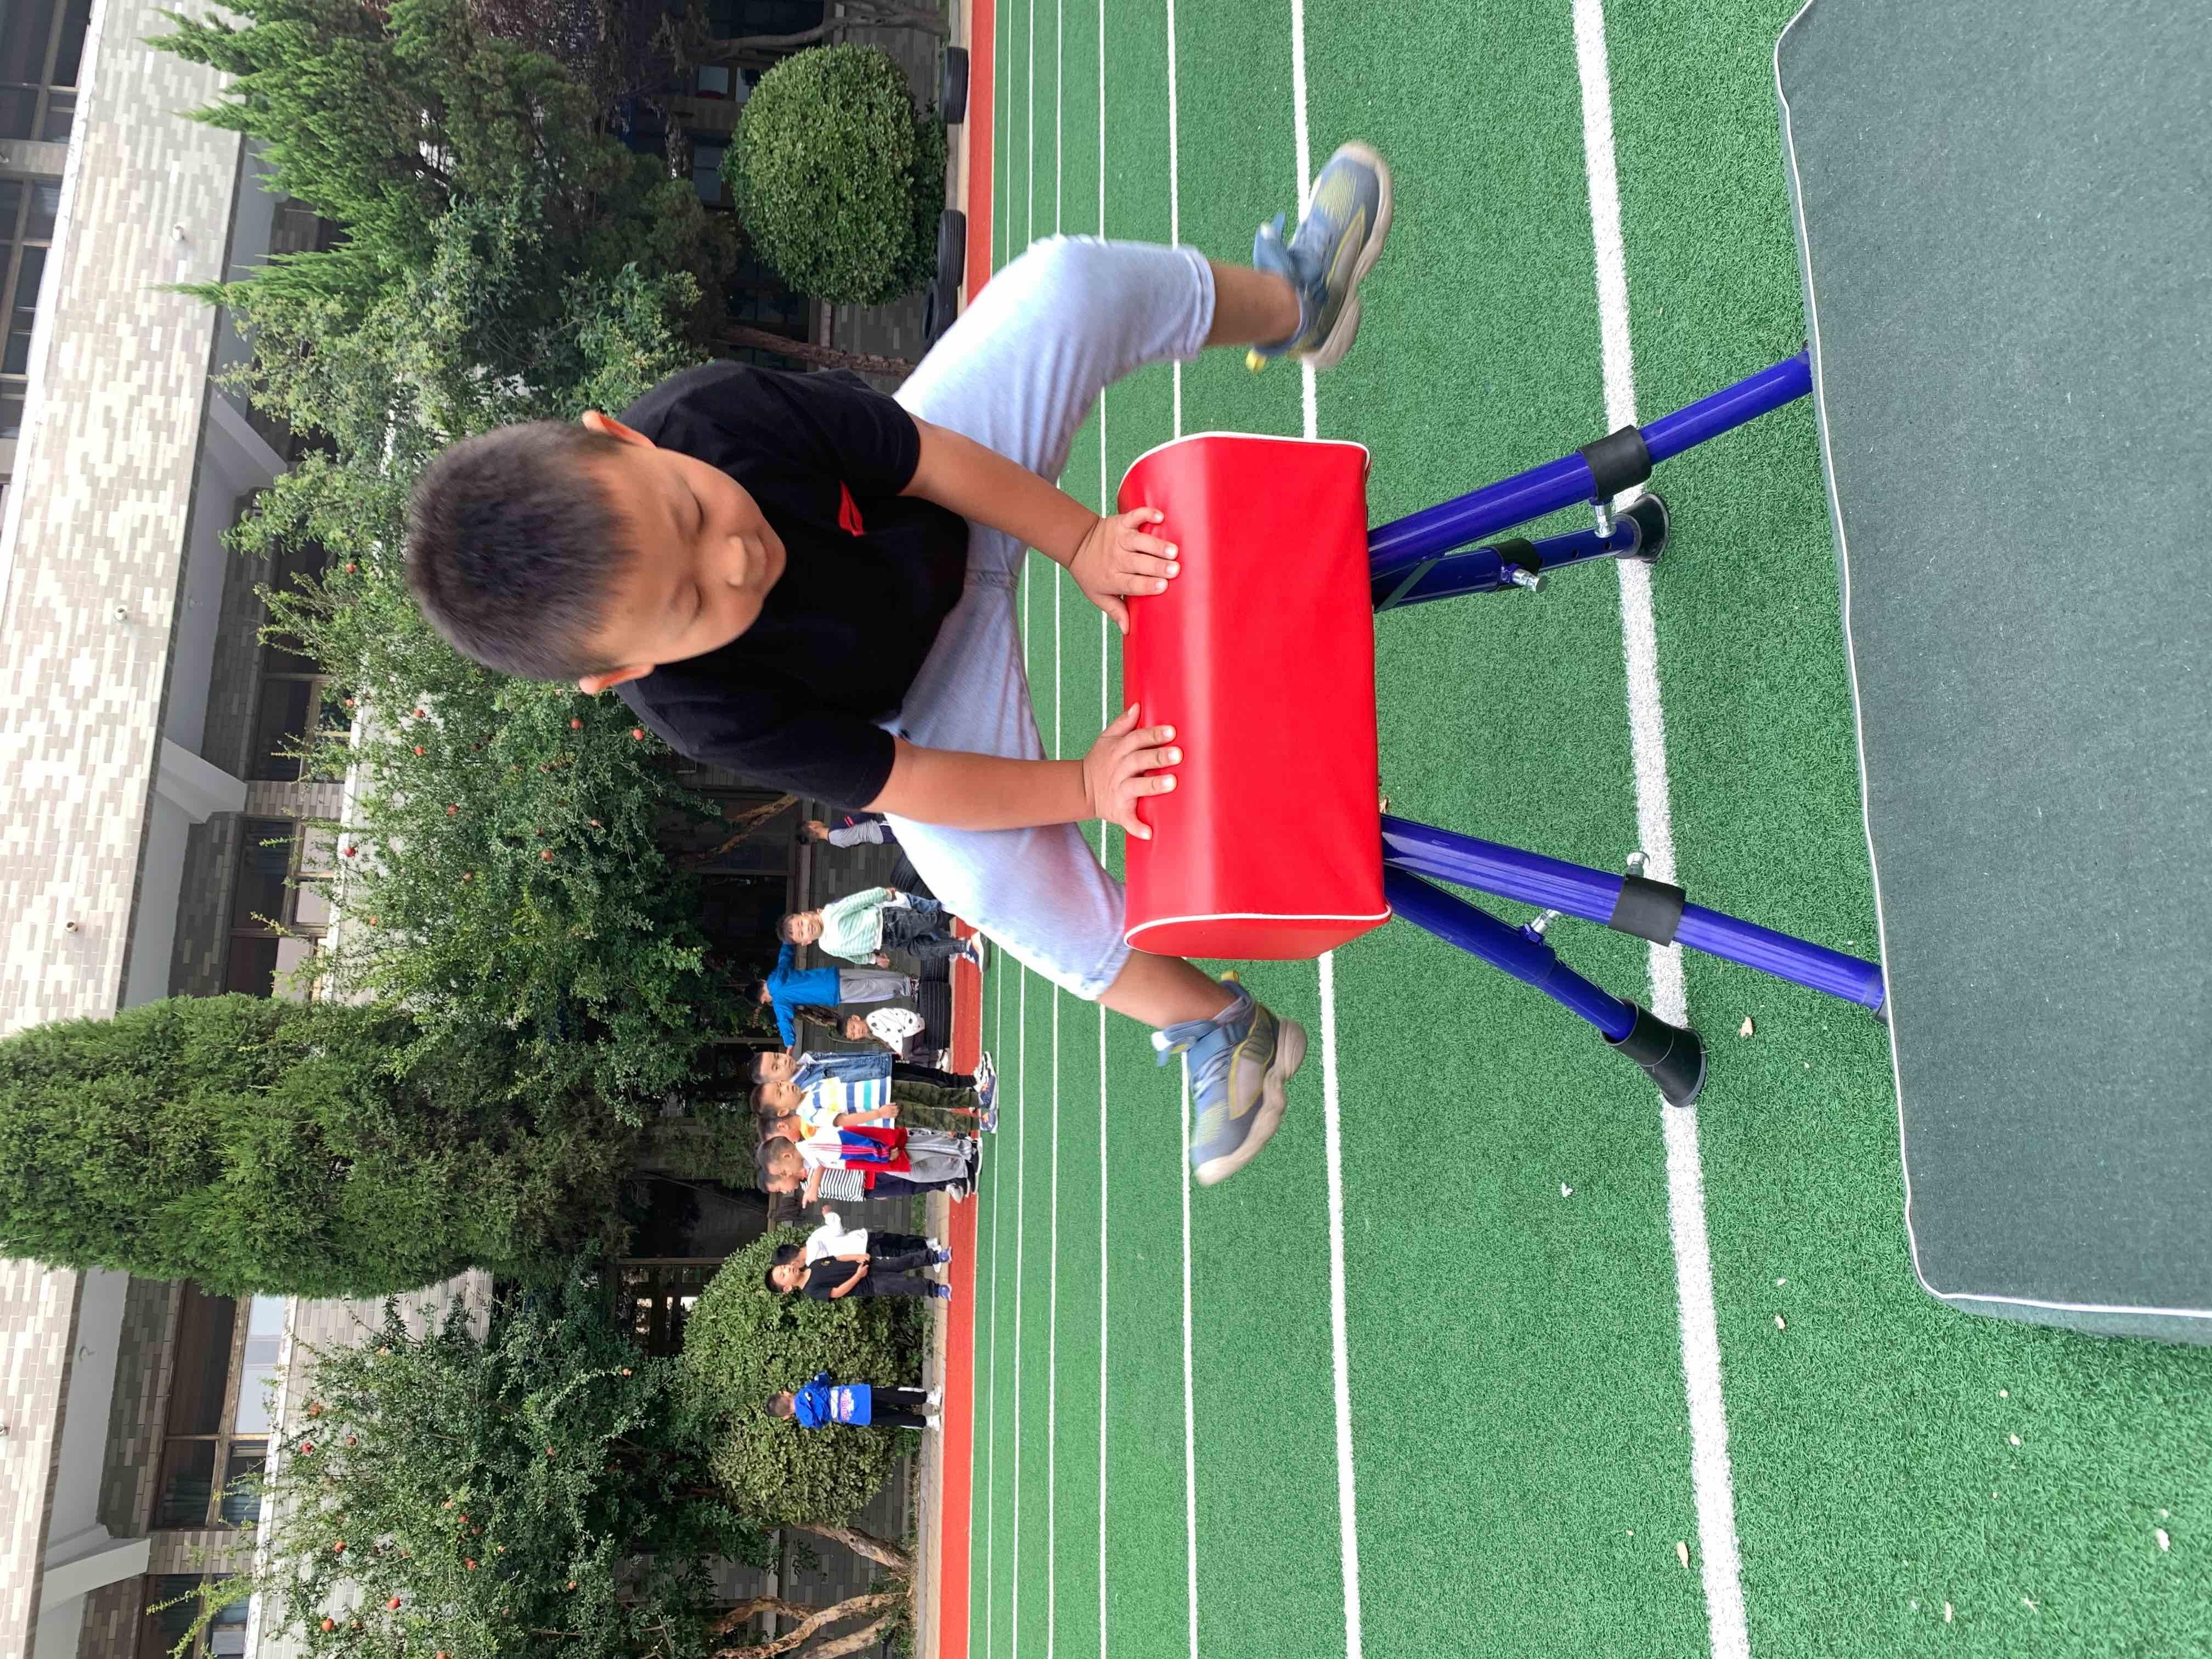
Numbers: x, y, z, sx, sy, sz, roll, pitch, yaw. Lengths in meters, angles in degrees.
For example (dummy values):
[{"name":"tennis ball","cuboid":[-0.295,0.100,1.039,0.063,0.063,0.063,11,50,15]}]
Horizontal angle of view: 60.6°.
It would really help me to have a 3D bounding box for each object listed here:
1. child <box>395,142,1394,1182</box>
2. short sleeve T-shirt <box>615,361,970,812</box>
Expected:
[{"name":"child","cuboid":[-0.555,-0.672,5.617,2.861,2.143,3.231,-8,96,-31]},{"name":"short sleeve T-shirt","cuboid":[-0.774,-0.621,4.741,0.611,1.053,1.187,9,99,26]}]
